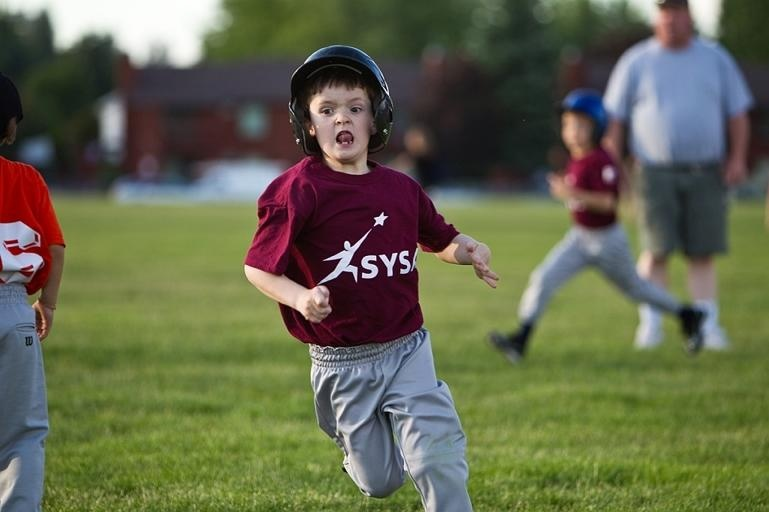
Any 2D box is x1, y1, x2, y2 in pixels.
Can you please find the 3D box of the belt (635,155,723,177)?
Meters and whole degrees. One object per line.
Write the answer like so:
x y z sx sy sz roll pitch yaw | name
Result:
2.402 -0.715 12.093 0.658 0.089 0.084 1 8 7 | belt

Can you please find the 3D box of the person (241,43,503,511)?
-0.160 0.157 11.198 1.634 3.426 0.760 0 8 2 | person

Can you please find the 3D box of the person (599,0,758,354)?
2.368 -0.681 12.111 1.119 2.760 0.810 1 8 11 | person

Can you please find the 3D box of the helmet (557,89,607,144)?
1.677 -1.167 12.206 0.338 0.428 0.437 6 20 -20 | helmet

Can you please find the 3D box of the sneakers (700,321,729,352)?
2.631 0.637 11.860 0.201 0.229 0.066 1 8 10 | sneakers

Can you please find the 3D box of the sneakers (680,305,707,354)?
2.451 0.578 11.919 0.200 0.368 0.261 1 17 16 | sneakers
